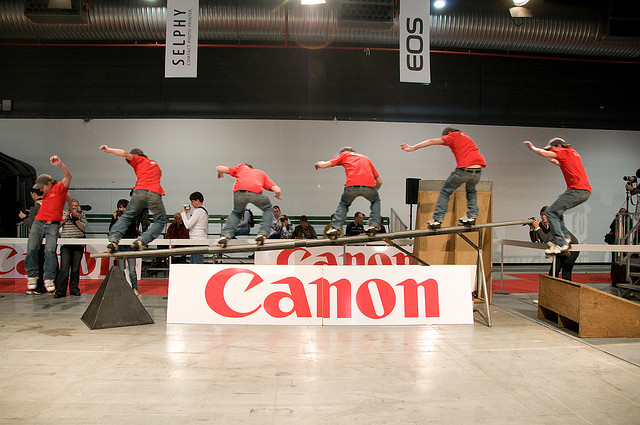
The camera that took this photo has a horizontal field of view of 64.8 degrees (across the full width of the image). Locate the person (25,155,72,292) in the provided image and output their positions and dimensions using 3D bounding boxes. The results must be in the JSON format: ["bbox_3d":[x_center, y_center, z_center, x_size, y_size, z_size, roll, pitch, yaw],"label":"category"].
[{"bbox_3d":[-6.375,0.244,11.698,1.141,3.010,0.876,-5,-11,4],"label":"person"}]

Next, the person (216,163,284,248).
[{"bbox_3d":[-1.484,-0.237,10.346,1.415,2.077,0.817,6,-28,-9],"label":"person"}]

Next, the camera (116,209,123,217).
[{"bbox_3d":[-4.957,0.010,12.442,0.196,0.100,0.274,6,10,-9],"label":"camera"}]

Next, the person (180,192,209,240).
[{"bbox_3d":[-3.003,0.070,12.001,0.607,1.096,0.567,1,2,-16],"label":"person"}]

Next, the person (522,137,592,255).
[{"bbox_3d":[5.156,-0.359,10.757,1.525,2.548,0.958,0,2,-44],"label":"person"}]

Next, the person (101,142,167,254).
[{"bbox_3d":[-3.749,-0.262,10.352,1.095,2.062,0.759,1,2,-18],"label":"person"}]

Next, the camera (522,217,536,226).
[{"bbox_3d":[4.807,0.208,11.565,0.335,0.125,0.246,-12,-34,34],"label":"camera"}]

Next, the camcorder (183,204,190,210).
[{"bbox_3d":[-3.498,-0.140,13.134,0.173,0.091,0.246,1,-1,0],"label":"camcorder"}]

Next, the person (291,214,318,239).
[{"bbox_3d":[-0.459,0.451,14.652,0.801,1.143,0.627,0,-10,-3],"label":"person"}]

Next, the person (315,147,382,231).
[{"bbox_3d":[0.596,-0.464,10.620,1.475,2.116,1.147,0,-20,-2],"label":"person"}]

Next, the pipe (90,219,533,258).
[{"bbox_3d":[-0.329,0.552,10.157,8.426,0.888,0.512,1,2,-4],"label":"pipe"}]

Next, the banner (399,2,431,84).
[{"bbox_3d":[2.385,-4.318,12.717,0.775,2.063,0.379,2,2,7],"label":"banner"}]

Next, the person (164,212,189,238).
[{"bbox_3d":[-3.662,0.486,13.029,0.602,0.961,0.551,-2,2,-15],"label":"person"}]

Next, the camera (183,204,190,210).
[{"bbox_3d":[-3.515,-0.144,13.197,0.168,0.074,0.230,1,-1,-1],"label":"camera"}]

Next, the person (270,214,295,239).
[{"bbox_3d":[-1.062,0.441,14.728,0.699,1.227,0.524,2,0,-3],"label":"person"}]
